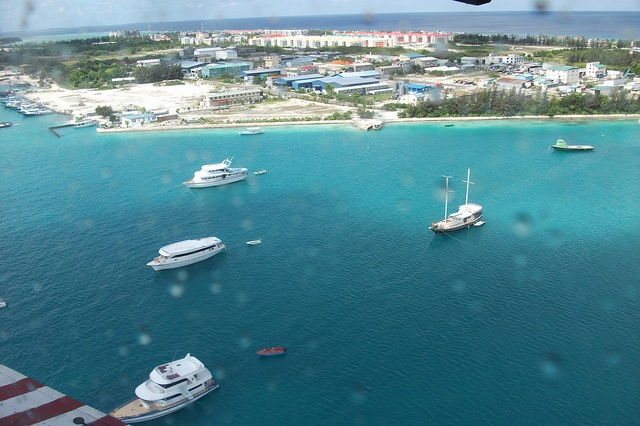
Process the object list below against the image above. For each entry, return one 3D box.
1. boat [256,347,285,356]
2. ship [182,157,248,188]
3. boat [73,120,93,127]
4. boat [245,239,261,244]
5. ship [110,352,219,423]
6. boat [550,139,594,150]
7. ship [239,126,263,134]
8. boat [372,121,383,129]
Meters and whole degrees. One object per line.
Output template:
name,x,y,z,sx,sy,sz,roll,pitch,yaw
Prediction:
boat,-1.286,3.842,14.403,0.949,0.193,0.164,-2,68,-3
ship,-4.629,-1.743,23.436,3.174,0.781,0.991,-7,34,-13
boat,-14.968,-5.725,33.347,1.155,0.260,0.525,-11,32,-23
boat,-2.296,1.036,18.530,0.568,0.153,0.109,-5,70,7
ship,-3.860,4.653,13.685,2.935,1.200,1.088,-16,51,-16
boat,12.682,-3.414,26.028,1.845,0.395,0.674,1,24,7
ship,-3.968,-4.792,30.485,1.415,0.343,0.680,-8,22,-10
boat,3.449,-5.195,30.839,0.631,0.118,0.572,6,33,18
